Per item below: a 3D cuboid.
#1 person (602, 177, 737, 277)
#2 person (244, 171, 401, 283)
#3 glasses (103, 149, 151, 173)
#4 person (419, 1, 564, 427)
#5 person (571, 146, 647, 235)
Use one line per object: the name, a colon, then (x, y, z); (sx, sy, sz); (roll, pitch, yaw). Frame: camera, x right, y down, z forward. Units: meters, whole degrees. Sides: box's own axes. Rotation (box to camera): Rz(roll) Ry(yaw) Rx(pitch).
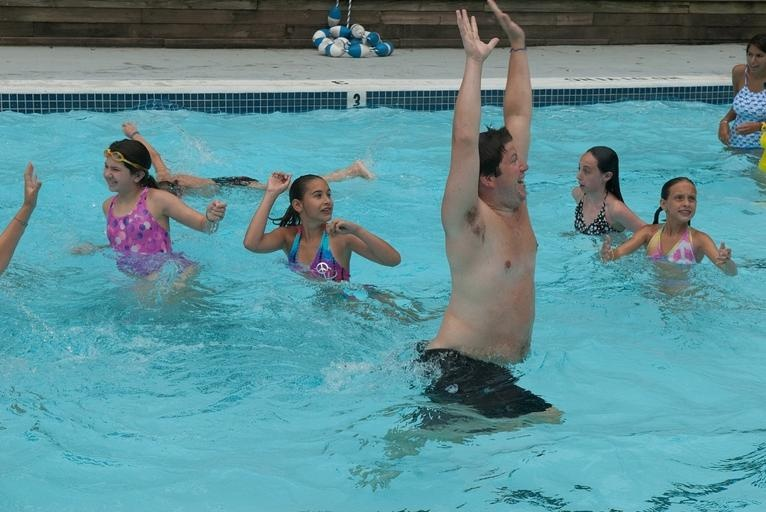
person: (2.206, -0.273, 5.832); (0.740, 0.657, 0.315); (6, 15, 27)
person: (-0.445, -0.183, 5.380); (0.922, 0.808, 0.545); (6, 14, 25)
glasses: (-1.877, -0.713, 5.601); (0.247, 0.052, 0.173); (14, 7, -39)
person: (0.597, -0.215, 4.224); (0.736, 2.242, 0.597); (-1, 14, -4)
person: (2.045, -0.569, 6.890); (0.529, 0.595, 0.958); (-18, 35, -11)
